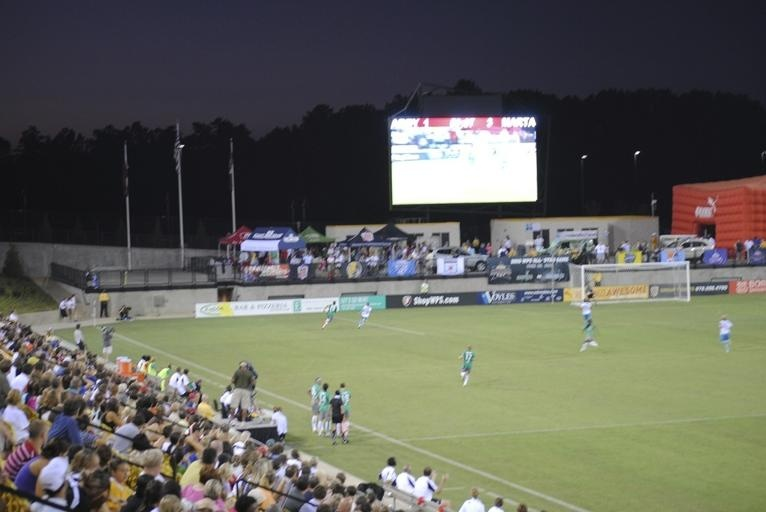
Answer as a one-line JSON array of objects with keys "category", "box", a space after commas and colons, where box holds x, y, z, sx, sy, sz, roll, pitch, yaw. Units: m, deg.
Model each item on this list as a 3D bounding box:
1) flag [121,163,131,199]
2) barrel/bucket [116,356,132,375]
[{"category": "flag", "box": [-23.322, -7.126, 84.862, 0.351, 3.370, 3.594, -2, 0, -12]}, {"category": "barrel/bucket", "box": [-14.067, 6.038, 50.713, 0.899, 1.050, 0.917, 2, 9, 0]}]
